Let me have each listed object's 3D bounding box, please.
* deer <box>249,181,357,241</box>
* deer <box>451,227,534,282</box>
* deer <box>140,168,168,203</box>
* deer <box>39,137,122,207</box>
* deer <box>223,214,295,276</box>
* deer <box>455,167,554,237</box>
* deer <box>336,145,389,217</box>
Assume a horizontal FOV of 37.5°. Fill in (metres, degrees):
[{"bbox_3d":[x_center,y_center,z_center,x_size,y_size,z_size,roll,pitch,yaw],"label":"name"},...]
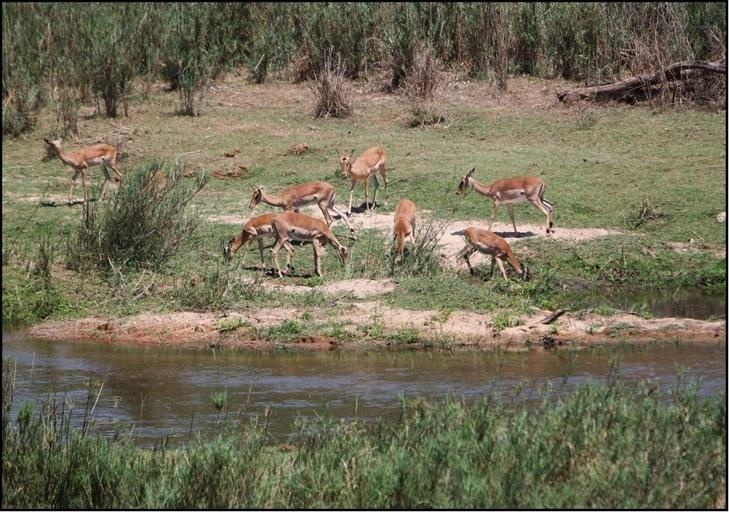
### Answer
[{"bbox_3d":[-1.419,-1.076,25.236,2.309,1.627,0.564,-8,15,-6],"label":"deer"},{"bbox_3d":[2.775,0.042,23.005,1.682,1.113,0.420,28,28,18],"label":"deer"},{"bbox_3d":[-4.602,-1.566,23.734,0.358,0.686,0.898,1,10,15],"label":"deer"},{"bbox_3d":[-6.883,-2.141,26.617,1.900,1.666,0.539,-12,18,-44],"label":"deer"},{"bbox_3d":[-2.299,-0.240,23.707,1.812,1.207,0.498,-15,-5,17],"label":"deer"},{"bbox_3d":[3.457,-1.292,25.537,2.043,1.425,1.753,0,10,10],"label":"deer"},{"bbox_3d":[0.003,-1.914,26.795,0.555,1.797,2.152,3,17,30],"label":"deer"}]
